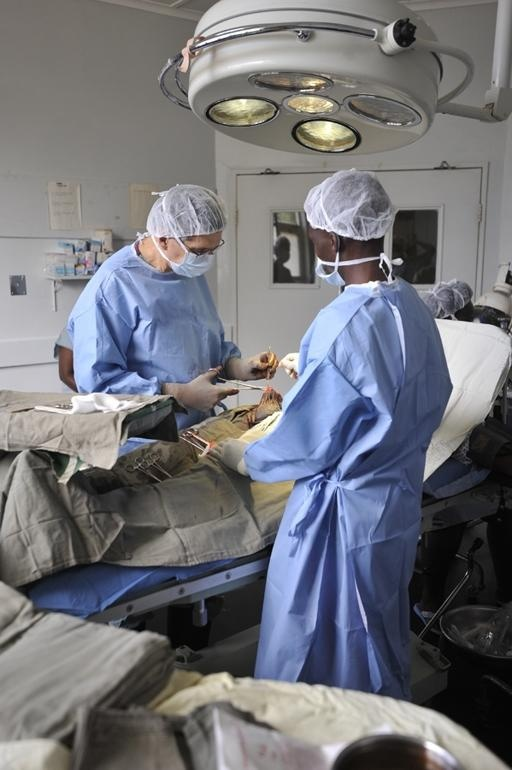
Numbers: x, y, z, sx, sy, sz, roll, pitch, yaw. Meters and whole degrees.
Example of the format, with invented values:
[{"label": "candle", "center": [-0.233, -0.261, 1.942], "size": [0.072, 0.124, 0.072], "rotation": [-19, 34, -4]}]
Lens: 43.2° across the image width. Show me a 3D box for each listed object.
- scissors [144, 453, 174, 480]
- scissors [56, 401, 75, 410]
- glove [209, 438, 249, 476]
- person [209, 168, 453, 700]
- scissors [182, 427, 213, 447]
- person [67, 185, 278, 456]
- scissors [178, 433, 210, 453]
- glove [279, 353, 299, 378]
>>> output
[{"label": "scissors", "center": [-0.241, 0.200, 1.575], "size": [0.065, 0.013, 0.035], "rotation": [30, 48, 21]}, {"label": "scissors", "center": [-0.401, 0.043, 1.350], "size": [0.031, 0.005, 0.102], "rotation": [-4, 9, -17]}, {"label": "glove", "center": [-0.063, 0.179, 1.656], "size": [0.094, 0.035, 0.081], "rotation": [21, 48, 36]}, {"label": "person", "center": [0.195, 0.142, 1.432], "size": [0.318, 1.211, 0.402], "rotation": [5, 12, 34]}, {"label": "scissors", "center": [-0.166, 0.147, 1.842], "size": [0.073, 0.017, 0.044], "rotation": [18, 20, 42]}, {"label": "person", "center": [-0.245, -0.198, 1.982], "size": [0.575, 0.757, 0.556], "rotation": [-17, 31, -39]}, {"label": "scissors", "center": [-0.166, 0.160, 1.786], "size": [0.046, 0.018, 0.079], "rotation": [11, 11, -45]}, {"label": "glove", "center": [0.101, -0.058, 1.878], "size": [0.068, 0.032, 0.087], "rotation": [-20, 6, -2]}]
